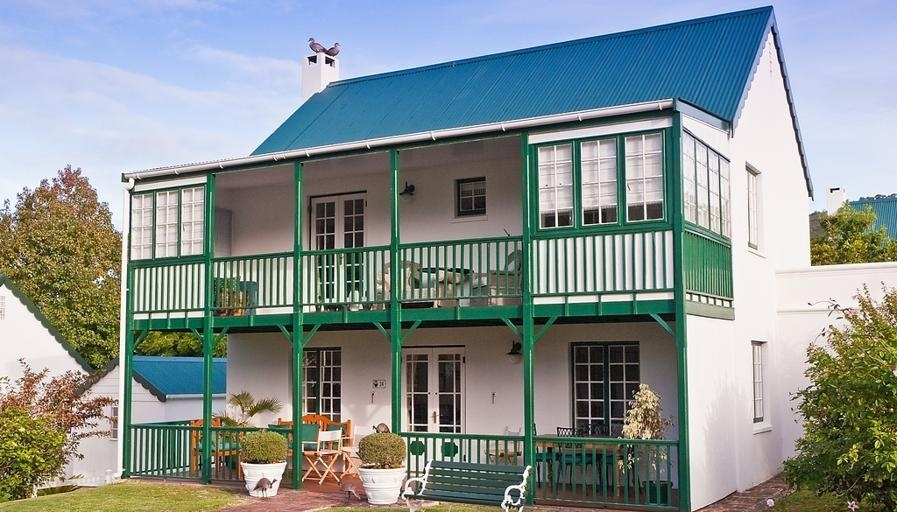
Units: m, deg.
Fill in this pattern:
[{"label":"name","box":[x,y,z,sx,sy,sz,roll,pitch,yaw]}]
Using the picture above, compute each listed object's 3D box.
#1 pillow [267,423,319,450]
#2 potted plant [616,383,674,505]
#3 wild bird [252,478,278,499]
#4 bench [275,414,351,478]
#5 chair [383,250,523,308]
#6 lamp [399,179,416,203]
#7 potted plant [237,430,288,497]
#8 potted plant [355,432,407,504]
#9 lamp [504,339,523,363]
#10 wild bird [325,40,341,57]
[{"label":"pillow","box":[-4.878,5.717,29.577,0.953,0.784,0.370,-3,-12,14]},{"label":"potted plant","box":[6.009,5.578,27.977,1.471,3.377,2.980,0,6,14]},{"label":"wild bird","box":[-5.528,7.030,28.424,0.714,0.578,0.386,-5,-8,15]},{"label":"bench","box":[-4.300,6.254,30.199,2.199,2.123,1.912,-3,-7,7]},{"label":"chair","box":[0.172,0.768,29.094,4.274,1.881,2.147,-2,6,5]},{"label":"lamp","box":[-1.361,-2.243,32.051,0.518,0.627,0.198,1,7,27]},{"label":"potted plant","box":[-5.816,6.454,29.276,1.614,2.078,1.710,1,-12,-4]},{"label":"potted plant","box":[-1.984,6.487,28.440,1.815,2.441,1.746,0,-14,-3]},{"label":"lamp","box":[2.249,3.071,30.607,0.554,0.767,0.597,0,-10,9]},{"label":"wild bird","box":[-4.419,-7.857,35.828,0.654,0.540,0.367,-3,4,-30]}]
